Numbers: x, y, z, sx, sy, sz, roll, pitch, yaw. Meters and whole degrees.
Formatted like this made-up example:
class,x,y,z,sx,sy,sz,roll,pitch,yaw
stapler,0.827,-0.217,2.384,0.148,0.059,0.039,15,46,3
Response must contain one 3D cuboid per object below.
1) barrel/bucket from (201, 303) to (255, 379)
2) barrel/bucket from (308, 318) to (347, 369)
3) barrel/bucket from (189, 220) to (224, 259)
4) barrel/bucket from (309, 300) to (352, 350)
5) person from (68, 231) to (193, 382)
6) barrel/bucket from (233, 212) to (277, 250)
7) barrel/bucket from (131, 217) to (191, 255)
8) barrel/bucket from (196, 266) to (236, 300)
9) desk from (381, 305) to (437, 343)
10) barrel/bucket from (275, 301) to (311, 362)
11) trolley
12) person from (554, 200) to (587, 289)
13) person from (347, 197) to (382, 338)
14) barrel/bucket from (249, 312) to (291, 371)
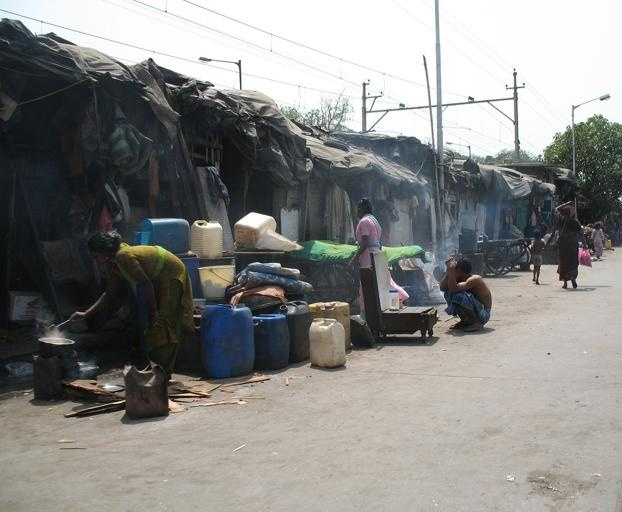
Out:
class,x,y,z,sx,sy,sz,roll,pitch,yaw
barrel/bucket,-0.916,0.959,7.471,0.630,0.822,0.561,-1,1,-5
barrel/bucket,0.177,1.024,8.009,0.358,0.525,0.279,3,5,37
barrel/bucket,-1.527,-0.250,9.920,0.458,0.568,0.496,-1,-4,0
barrel/bucket,0.283,0.926,8.859,0.396,0.586,0.320,-5,-6,29
person,-1.864,0.528,7.520,1.067,1.649,0.546,-4,10,-13
barrel/bucket,-0.946,-0.428,11.211,0.430,0.532,0.667,4,11,32
barrel/bucket,-2.016,-0.328,9.131,0.546,0.574,0.544,1,9,0
barrel/bucket,-1.322,0.367,9.427,0.417,0.379,0.448,2,0,0
desk,1.437,0.977,9.810,0.683,0.464,1.026,-2,0,21
barrel/bucket,-0.185,0.919,8.383,0.414,0.775,0.437,-3,10,1
trolley,1.254,0.613,9.429,0.867,1.274,0.930,4,9,-37
person,6.005,-0.218,15.489,0.652,1.840,0.551,-5,6,-43
person,0.777,0.048,10.101,0.449,1.776,0.552,7,10,19
barrel/bucket,-0.492,0.990,7.869,0.452,0.622,0.422,0,1,0
